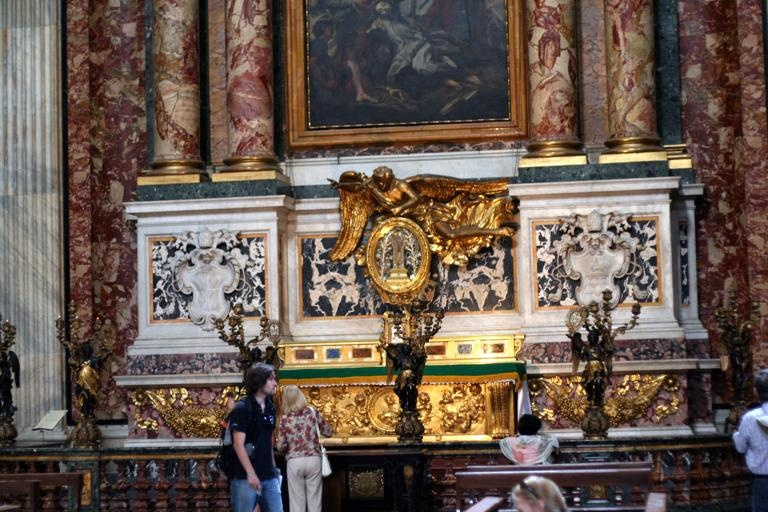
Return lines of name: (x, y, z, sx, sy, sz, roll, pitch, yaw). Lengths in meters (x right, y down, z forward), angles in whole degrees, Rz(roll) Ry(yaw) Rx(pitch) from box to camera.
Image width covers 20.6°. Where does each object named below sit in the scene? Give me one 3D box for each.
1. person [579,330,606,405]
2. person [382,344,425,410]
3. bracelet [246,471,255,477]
person: (2.603, 1.413, 26.333, 0.300, 0.896, 0.209, -3, -7, 5)
person: (0.264, 1.491, 25.914, 0.486, 0.814, 0.218, -6, -8, 29)
bracelet: (-1.526, 2.420, 23.626, 0.070, 0.061, 0.020, 0, 3, -4)
